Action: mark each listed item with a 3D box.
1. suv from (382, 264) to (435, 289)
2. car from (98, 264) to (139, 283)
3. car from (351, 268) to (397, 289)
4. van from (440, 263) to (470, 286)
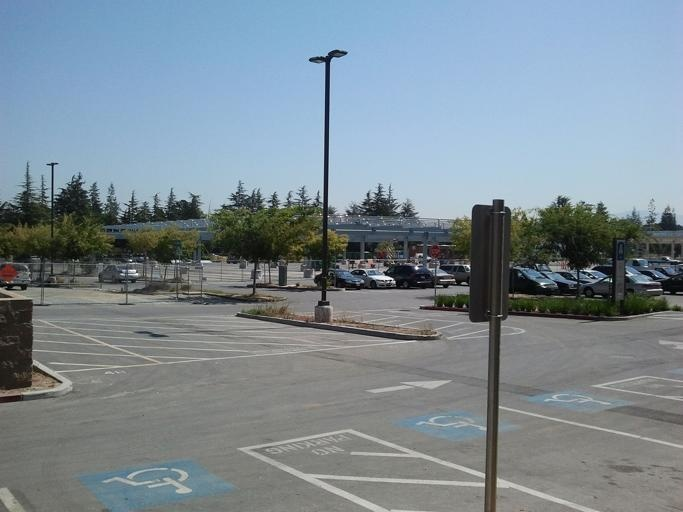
[{"bbox_3d":[4.805,1.451,50.815,1.402,0.978,3.022,-1,5,-32],"label":"suv"},{"bbox_3d":[-16.779,1.399,54.372,2.943,0.924,1.362,5,4,41],"label":"car"},{"bbox_3d":[2.218,1.617,50.468,1.360,0.809,2.874,-1,0,-32],"label":"car"},{"bbox_3d":[7.861,1.342,50.054,3.228,1.360,1.769,-1,1,27],"label":"van"}]
